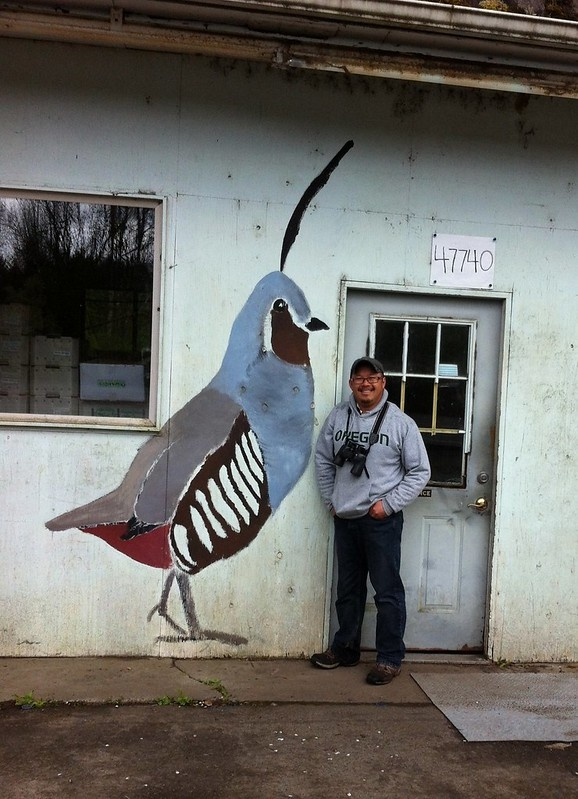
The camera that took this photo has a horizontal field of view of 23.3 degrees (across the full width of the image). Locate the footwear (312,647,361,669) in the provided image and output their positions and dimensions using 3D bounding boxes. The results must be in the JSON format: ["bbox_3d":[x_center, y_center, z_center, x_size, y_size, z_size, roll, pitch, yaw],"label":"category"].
[{"bbox_3d":[0.268,1.404,7.652,0.276,0.141,0.097,9,-2,-20],"label":"footwear"}]

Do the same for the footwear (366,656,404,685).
[{"bbox_3d":[0.508,1.446,7.447,0.074,0.108,0.216,-7,-14,30],"label":"footwear"}]

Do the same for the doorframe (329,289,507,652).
[{"bbox_3d":[0.770,0.452,8.174,0.916,2.528,0.194,1,32,4],"label":"doorframe"}]

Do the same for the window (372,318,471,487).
[{"bbox_3d":[0.760,0.005,7.982,0.567,1.140,0.036,3,33,4],"label":"window"}]

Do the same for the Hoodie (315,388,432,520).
[{"bbox_3d":[0.434,0.311,7.517,0.546,0.631,0.316,6,-1,28],"label":"Hoodie"}]

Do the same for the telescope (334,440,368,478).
[{"bbox_3d":[0.338,0.325,7.408,0.169,0.185,0.057,20,6,37],"label":"telescope"}]

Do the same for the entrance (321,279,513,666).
[{"bbox_3d":[0.765,0.477,8.105,0.904,2.513,0.178,1,31,3],"label":"entrance"}]

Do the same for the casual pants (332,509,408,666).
[{"bbox_3d":[0.401,0.954,7.591,0.376,1.014,0.256,1,15,15],"label":"casual pants"}]

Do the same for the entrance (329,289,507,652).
[{"bbox_3d":[0.755,0.496,8.143,0.936,2.574,0.268,1,34,5],"label":"entrance"}]
